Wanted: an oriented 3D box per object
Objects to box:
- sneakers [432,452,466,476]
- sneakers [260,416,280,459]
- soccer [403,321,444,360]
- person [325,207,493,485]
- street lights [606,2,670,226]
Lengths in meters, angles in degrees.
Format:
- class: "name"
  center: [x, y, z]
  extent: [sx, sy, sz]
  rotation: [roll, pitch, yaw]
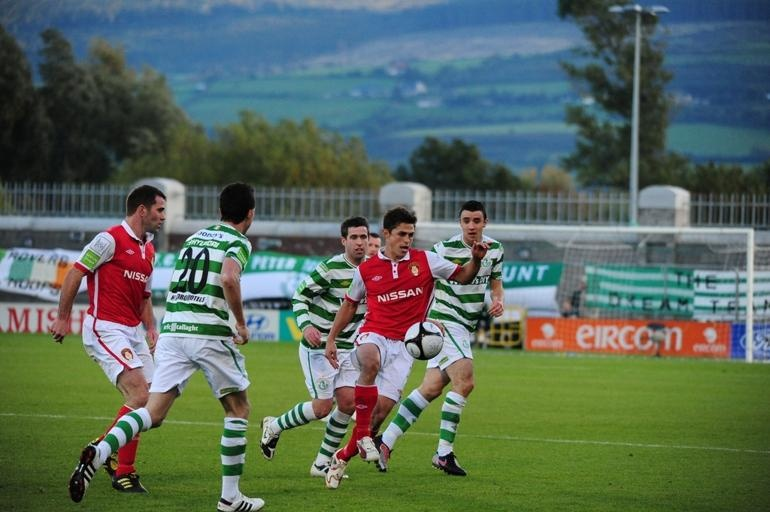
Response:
- class: "sneakers"
  center: [0.625, 1.995, 13.095]
  extent: [0.402, 0.200, 0.147]
  rotation: [18, 19, 34]
- class: "sneakers"
  center: [-1.130, 1.798, 13.431]
  extent: [0.155, 0.448, 0.216]
  rotation: [3, 2, -38]
- class: "soccer"
  center: [0.357, 0.781, 12.732]
  extent: [0.353, 0.344, 0.360]
  rotation: [-6, -26, -15]
- class: "person"
  center: [0.142, 0.817, 12.922]
  extent: [1.414, 2.599, 0.955]
  rotation: [0, 6, -3]
- class: "street lights"
  center: [2.325, -1.315, 12.377]
  extent: [0.527, 2.024, 0.285]
  rotation: [1, 7, 9]
